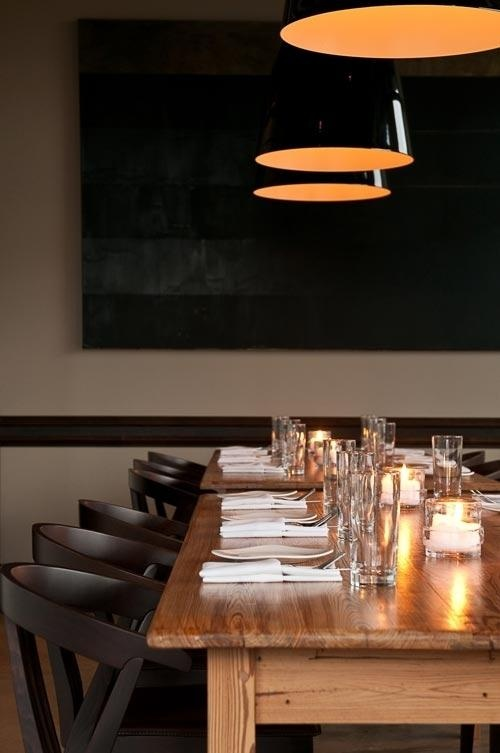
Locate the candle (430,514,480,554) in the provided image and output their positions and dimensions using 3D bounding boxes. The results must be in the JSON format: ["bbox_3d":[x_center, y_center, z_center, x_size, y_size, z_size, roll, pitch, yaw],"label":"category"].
[{"bbox_3d":[0.439,0.334,1.388,0.085,0.056,0.087,1,-6,-4],"label":"candle"}]
